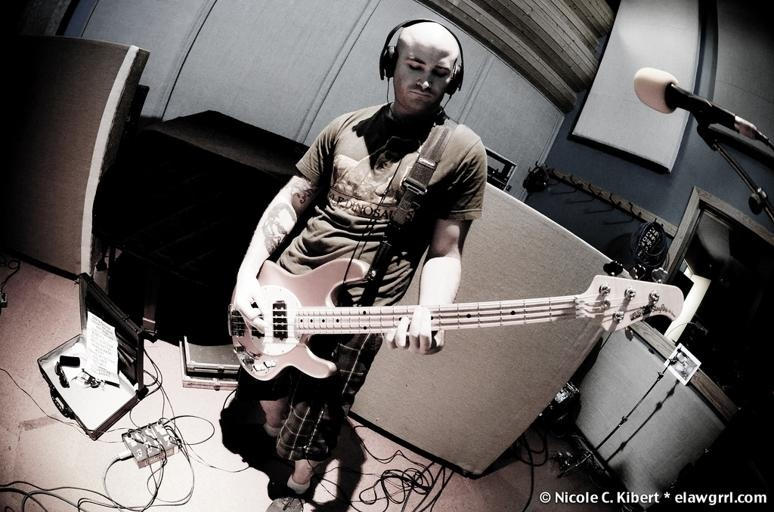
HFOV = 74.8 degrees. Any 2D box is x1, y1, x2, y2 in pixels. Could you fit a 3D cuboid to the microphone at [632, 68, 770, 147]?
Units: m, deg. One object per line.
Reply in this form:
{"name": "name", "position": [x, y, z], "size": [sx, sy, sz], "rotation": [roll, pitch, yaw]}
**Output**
{"name": "microphone", "position": [1.911, -0.896, 2.985], "size": [0.663, 0.185, 0.185], "rotation": [30, 42, 23]}

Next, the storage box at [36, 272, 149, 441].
{"name": "storage box", "position": [-1.988, 0.674, 3.349], "size": [0.691, 0.648, 0.449], "rotation": [38, 34, 19]}

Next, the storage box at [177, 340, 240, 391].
{"name": "storage box", "position": [-1.341, 0.831, 3.790], "size": [0.381, 0.113, 0.452], "rotation": [3, 53, -16]}
